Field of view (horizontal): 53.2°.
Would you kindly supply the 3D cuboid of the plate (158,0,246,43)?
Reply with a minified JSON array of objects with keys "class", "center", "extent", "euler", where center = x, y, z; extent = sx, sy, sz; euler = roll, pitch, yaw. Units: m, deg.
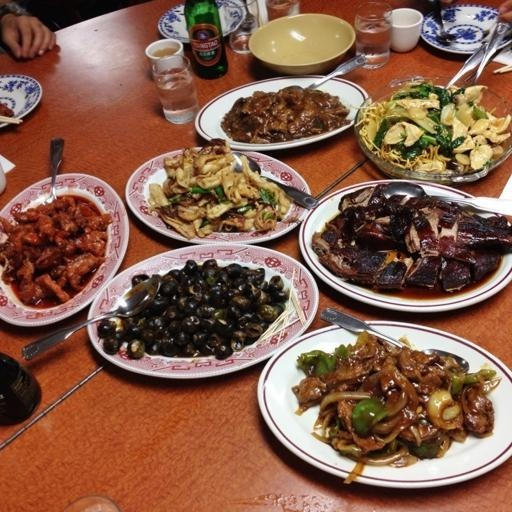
[{"class":"plate","center":[-0.411,-1.716,3.699],"extent":[0.546,0.121,0.534],"euler":[-37,57,-19]}]

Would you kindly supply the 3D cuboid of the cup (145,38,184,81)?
[{"class":"cup","center":[-0.541,-1.235,3.217],"extent":[0.303,0.188,0.235],"euler":[2,60,0]}]

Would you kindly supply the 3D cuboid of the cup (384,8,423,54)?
[{"class":"cup","center":[0.870,-1.383,3.175],"extent":[0.298,0.207,0.263],"euler":[0,45,6]}]
